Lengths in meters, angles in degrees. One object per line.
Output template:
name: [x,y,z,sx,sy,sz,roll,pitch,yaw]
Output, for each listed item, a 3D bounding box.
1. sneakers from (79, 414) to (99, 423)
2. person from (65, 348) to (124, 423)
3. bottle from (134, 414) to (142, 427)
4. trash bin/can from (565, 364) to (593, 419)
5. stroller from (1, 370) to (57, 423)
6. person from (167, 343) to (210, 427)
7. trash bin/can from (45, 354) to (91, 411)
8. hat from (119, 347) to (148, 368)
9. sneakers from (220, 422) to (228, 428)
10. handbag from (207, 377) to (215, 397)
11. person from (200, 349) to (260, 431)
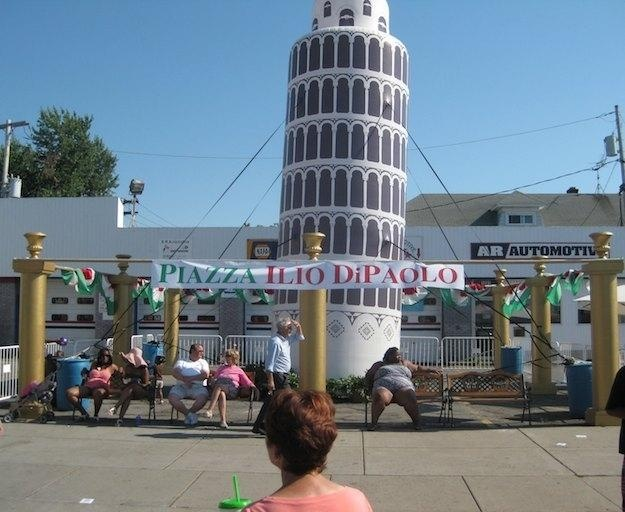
sneakers: [-4.208,3.089,15.416,0.404,0.189,0.142,-5,-5,38]
person: [-4.153,2.477,15.638,0.960,1.554,0.906,-8,-23,28]
bottle: [-3.282,3.137,15.426,0.121,0.182,0.124,2,6,0]
trash bin/can: [5.432,2.703,16.616,0.663,1.097,0.672,-4,1,-1]
stroller: [-5.504,2.739,15.613,0.946,1.221,0.698,5,-12,-2]
person: [-2.311,2.423,15.310,0.738,1.492,0.638,0,-6,-9]
trash bin/can: [-4.973,2.598,16.502,0.944,1.461,0.983,0,-8,0]
hat: [-3.416,2.082,16.047,0.425,0.241,0.576,15,-2,27]
sneakers: [-1.617,3.124,15.047,0.151,0.122,0.346,-1,-6,-3]
handbag: [-1.922,2.511,15.520,0.103,0.337,0.228,7,-4,-13]
person: [-1.652,2.448,15.234,0.964,1.376,1.220,-3,-8,15]
